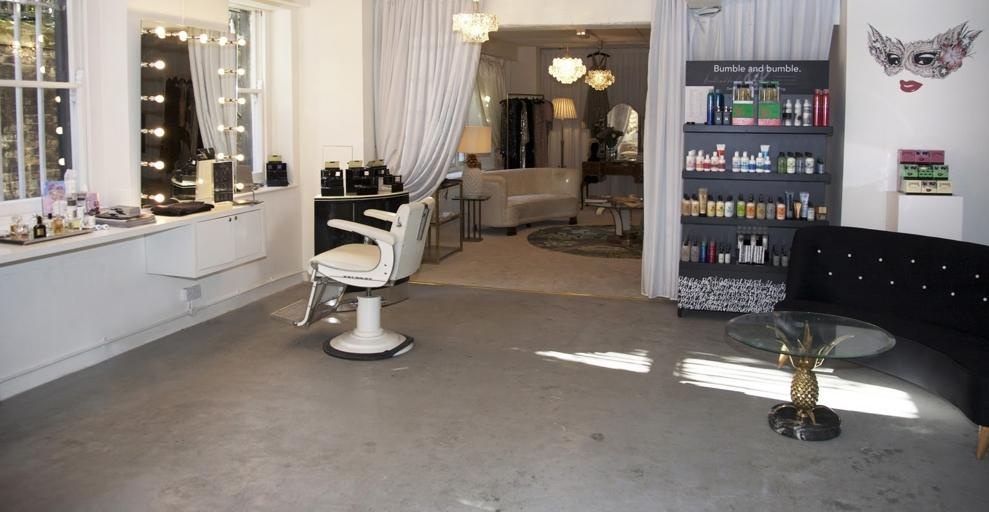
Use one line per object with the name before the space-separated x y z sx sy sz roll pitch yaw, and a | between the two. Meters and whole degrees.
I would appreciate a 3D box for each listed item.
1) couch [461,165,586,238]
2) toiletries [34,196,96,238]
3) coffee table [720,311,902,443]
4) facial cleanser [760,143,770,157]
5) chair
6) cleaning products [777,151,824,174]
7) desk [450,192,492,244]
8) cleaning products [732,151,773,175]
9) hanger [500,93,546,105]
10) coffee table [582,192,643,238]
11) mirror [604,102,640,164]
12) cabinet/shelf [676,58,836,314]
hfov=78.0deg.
couch | 0.668 -1.174 12.274 2.292 0.989 1.087 -14 25 -38
toiletries | -4.161 -0.394 5.882 0.482 0.351 0.714 -8 16 -31
coffee table | 2.774 1.086 5.515 1.261 0.895 1.064 -9 17 -33
facial cleanser | 3.208 -1.264 7.260 0.077 0.105 0.196 1 -4 -15
chair | -1.562 0.226 7.334 1.975 1.906 1.448 3 4 12
cleaning products | 3.588 -1.091 7.165 0.512 0.241 0.301 6 15 21
desk | -0.598 -0.682 11.212 0.917 0.889 0.829 0 3 2
cleaning products | 3.063 -1.129 7.277 0.452 0.264 0.359 5 15 19
hanger | 0.680 -3.708 14.364 1.225 0.231 0.358 -8 16 -32
coffee table | 2.198 -0.780 11.074 1.056 0.474 0.983 0 16 10
mirror | 2.999 -2.939 14.770 0.901 1.453 0.015 -11 32 -6
cabinet/shelf | 2.970 -0.941 7.880 1.680 3.243 1.881 0 3 0
